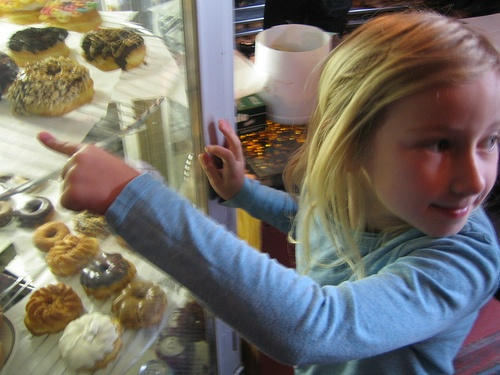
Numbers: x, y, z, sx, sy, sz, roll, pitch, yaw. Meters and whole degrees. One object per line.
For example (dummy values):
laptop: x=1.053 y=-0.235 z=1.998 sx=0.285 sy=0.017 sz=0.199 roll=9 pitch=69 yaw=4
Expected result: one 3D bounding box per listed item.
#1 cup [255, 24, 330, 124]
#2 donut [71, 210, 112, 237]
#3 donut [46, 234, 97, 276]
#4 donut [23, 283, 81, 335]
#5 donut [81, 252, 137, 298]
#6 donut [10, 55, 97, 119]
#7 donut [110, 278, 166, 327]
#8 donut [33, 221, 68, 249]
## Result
cup: x=0.137 y=-0.433 z=1.547 sx=0.256 sy=0.342 sz=0.405 roll=0 pitch=39 yaw=4
donut: x=-0.298 y=0.066 z=0.750 sx=0.080 sy=0.026 sz=0.080 roll=0 pitch=12 yaw=-28
donut: x=-0.329 y=0.116 z=0.731 sx=0.081 sy=0.043 sz=0.115 roll=6 pitch=15 yaw=-10
donut: x=-0.343 y=0.216 z=0.715 sx=0.077 sy=0.040 sz=0.101 roll=6 pitch=3 yaw=19
donut: x=-0.282 y=0.176 z=0.775 sx=0.087 sy=0.047 sz=0.096 roll=3 pitch=10 yaw=21
donut: x=-0.302 y=-0.162 z=0.601 sx=0.090 sy=0.038 sz=0.097 roll=-5 pitch=39 yaw=-9
donut: x=-0.221 y=0.243 z=0.823 sx=0.084 sy=0.039 sz=0.099 roll=11 pitch=33 yaw=-8
donut: x=-0.329 y=0.089 z=0.704 sx=0.071 sy=0.068 sz=0.026 roll=6 pitch=54 yaw=-36
